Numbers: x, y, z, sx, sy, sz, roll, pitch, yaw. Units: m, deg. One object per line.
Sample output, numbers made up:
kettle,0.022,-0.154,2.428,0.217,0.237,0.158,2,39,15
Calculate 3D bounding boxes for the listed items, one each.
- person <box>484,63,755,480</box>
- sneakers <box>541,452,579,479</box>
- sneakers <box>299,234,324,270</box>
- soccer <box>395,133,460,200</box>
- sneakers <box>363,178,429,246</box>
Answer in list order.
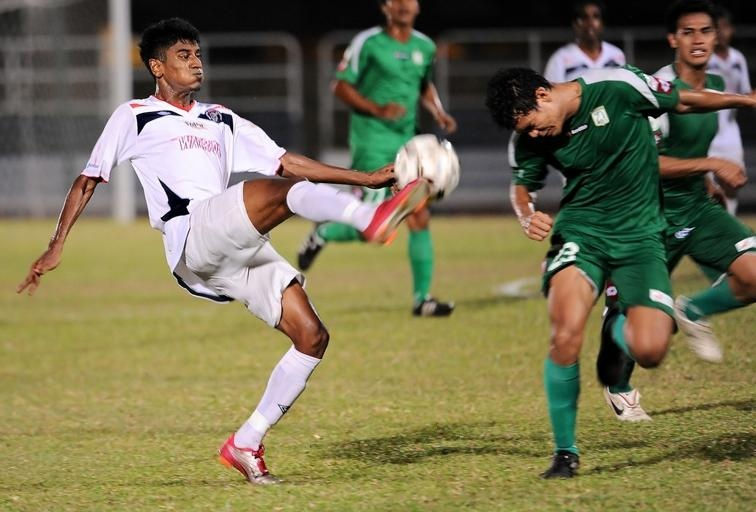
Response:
person,1.310,0.011,5.855,1.209,2.218,0.926,-6,12,-13
sneakers,1.006,1.154,5.568,0.227,0.085,0.109,-7,3,-37
sneakers,-0.699,-0.030,10.548,0.420,0.150,0.181,-48,7,2
soccer,0.184,-0.481,5.385,0.301,0.276,0.371,-7,-7,-37
sneakers,0.105,-0.275,6.112,0.498,0.173,0.240,-37,28,-5
